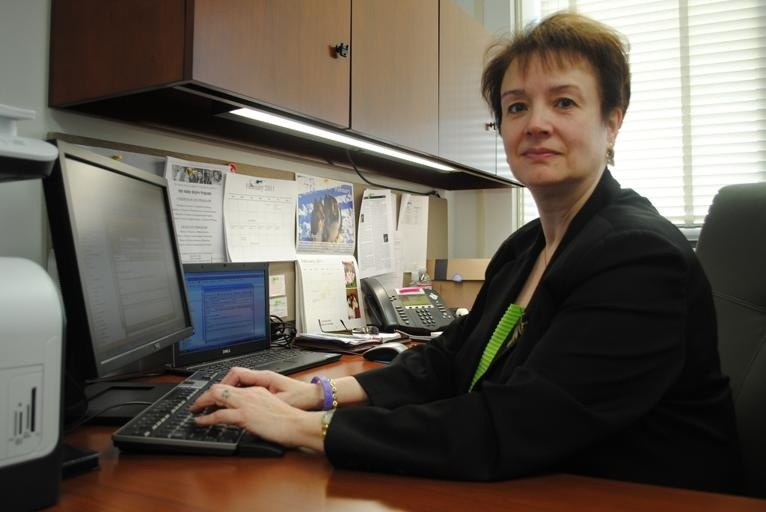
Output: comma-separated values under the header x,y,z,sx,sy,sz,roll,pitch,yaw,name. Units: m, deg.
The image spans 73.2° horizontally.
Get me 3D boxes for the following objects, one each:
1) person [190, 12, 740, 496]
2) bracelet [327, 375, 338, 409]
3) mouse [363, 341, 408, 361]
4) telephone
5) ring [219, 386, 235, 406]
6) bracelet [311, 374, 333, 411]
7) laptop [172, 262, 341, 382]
x,y,z,sx,sy,sz,roll,pitch,yaw,name
0.263,0.012,1.347,1.268,0.956,0.815,4,-7,-13,person
-0.105,0.295,1.105,0.014,0.043,0.033,-10,-3,3,bracelet
0.020,0.270,1.537,0.102,0.031,0.072,1,-3,39,mouse
0.104,0.197,2.041,0.344,0.120,0.305,2,20,-31,telephone
-0.299,0.268,0.987,0.040,0.038,0.011,-25,-36,36,ring
-0.136,0.293,1.102,0.022,0.048,0.063,-9,44,-17,bracelet
-0.382,0.178,1.500,0.308,0.267,0.413,0,-2,23,laptop
